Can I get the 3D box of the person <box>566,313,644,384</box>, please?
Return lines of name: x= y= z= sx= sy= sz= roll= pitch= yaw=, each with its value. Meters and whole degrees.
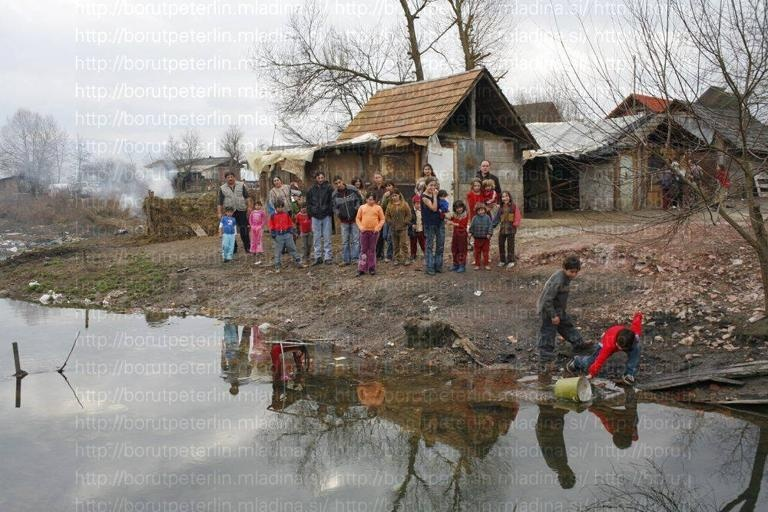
person: x=4.234 y=1.724 z=15.092 sx=1.265 sy=0.773 sz=1.288 roll=-31 pitch=10 yaw=-17

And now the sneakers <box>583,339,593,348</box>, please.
sneakers: x=4.150 y=1.799 z=15.671 sx=0.096 sy=0.210 sz=0.345 roll=29 pitch=-8 yaw=11

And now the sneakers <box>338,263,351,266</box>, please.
sneakers: x=-1.070 y=0.207 z=20.069 sx=0.240 sy=0.111 sz=0.424 roll=-4 pitch=4 yaw=-38

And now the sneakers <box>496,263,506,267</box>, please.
sneakers: x=2.786 y=0.202 z=18.547 sx=0.211 sy=0.122 sz=0.139 roll=2 pitch=4 yaw=42

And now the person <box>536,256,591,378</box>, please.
person: x=3.680 y=1.362 z=15.795 sx=1.100 sy=2.611 sz=1.134 roll=-1 pitch=28 yaw=8

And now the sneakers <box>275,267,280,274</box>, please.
sneakers: x=-2.855 y=0.387 z=20.555 sx=0.117 sy=0.138 sz=0.127 roll=-13 pitch=7 yaw=-31

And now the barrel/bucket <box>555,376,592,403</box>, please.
barrel/bucket: x=3.583 y=2.505 z=14.657 sx=0.505 sy=0.610 sz=0.485 roll=-6 pitch=30 yaw=3

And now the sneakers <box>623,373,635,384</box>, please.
sneakers: x=4.702 y=2.390 z=14.856 sx=0.101 sy=0.145 sz=0.290 roll=5 pitch=3 yaw=38

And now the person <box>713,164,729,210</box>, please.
person: x=6.566 y=-1.357 z=14.987 sx=0.259 sy=0.839 sz=2.369 roll=0 pitch=4 yaw=24
